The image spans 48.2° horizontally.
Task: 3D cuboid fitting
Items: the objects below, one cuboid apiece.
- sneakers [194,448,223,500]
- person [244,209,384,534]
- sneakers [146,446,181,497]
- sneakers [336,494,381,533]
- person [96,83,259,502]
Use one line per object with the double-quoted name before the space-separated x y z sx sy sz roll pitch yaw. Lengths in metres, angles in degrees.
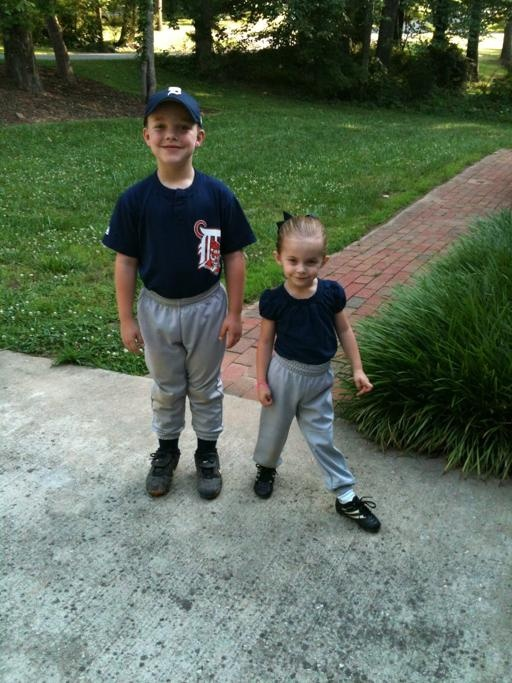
"sneakers" -0.197 0.540 2.317 0.076 0.085 0.213 -2 14 -6
"person" 0.224 0.090 2.160 0.515 1.113 0.472 3 19 6
"sneakers" -0.376 0.535 2.331 0.077 0.085 0.203 2 16 2
"sneakers" 0.391 0.640 2.185 0.084 0.073 0.180 -26 31 -37
"person" -0.291 -0.159 2.202 0.554 1.528 0.386 1 19 0
